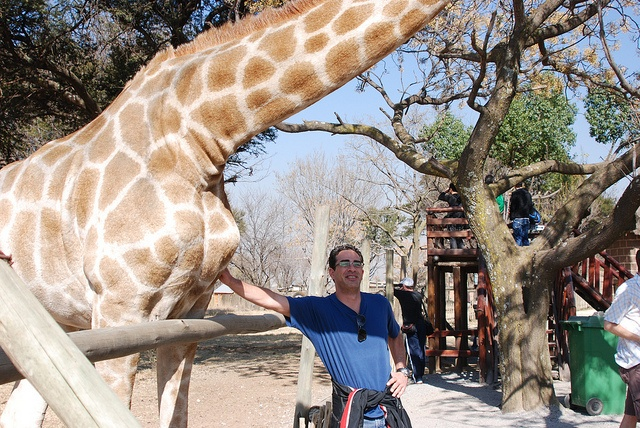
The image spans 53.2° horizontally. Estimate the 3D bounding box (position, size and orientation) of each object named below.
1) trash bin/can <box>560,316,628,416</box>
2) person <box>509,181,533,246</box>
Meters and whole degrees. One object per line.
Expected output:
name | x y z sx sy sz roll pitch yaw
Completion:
trash bin/can | 4.455 2.433 10.201 1.010 1.507 0.842 2 -8 4
person | 4.327 0.024 13.770 0.431 1.247 0.558 -3 -13 18
